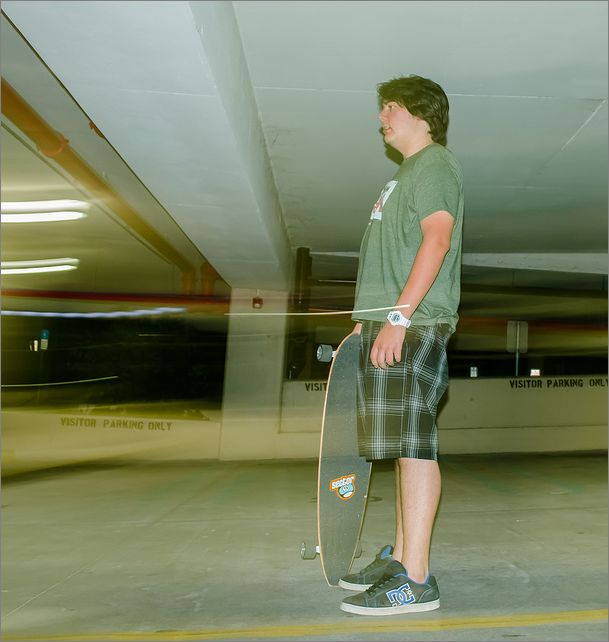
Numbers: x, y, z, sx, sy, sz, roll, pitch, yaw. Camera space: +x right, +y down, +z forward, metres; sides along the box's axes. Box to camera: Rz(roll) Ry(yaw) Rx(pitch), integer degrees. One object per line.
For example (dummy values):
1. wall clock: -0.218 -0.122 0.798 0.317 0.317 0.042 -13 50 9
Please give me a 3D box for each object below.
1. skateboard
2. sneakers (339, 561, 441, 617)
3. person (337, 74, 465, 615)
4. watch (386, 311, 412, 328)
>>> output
1. skateboard: 0.098 0.521 2.139 0.295 0.791 0.149 5 -4 -27
2. sneakers: 0.281 0.857 1.867 0.382 0.142 0.122 2 -9 0
3. person: 0.342 0.001 1.967 0.372 1.871 0.426 1 -9 10
4. watch: 0.292 0.003 1.771 0.068 0.047 0.015 27 17 18
